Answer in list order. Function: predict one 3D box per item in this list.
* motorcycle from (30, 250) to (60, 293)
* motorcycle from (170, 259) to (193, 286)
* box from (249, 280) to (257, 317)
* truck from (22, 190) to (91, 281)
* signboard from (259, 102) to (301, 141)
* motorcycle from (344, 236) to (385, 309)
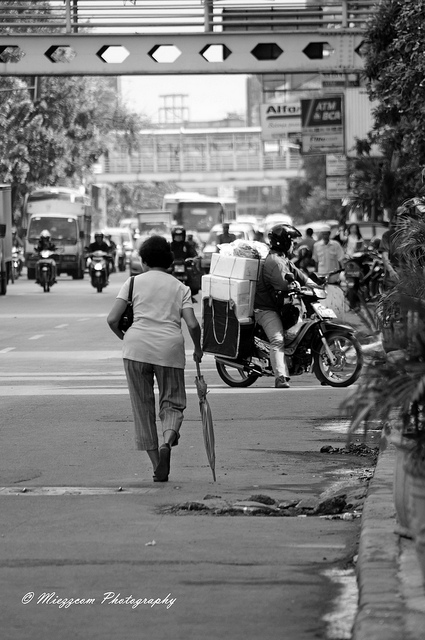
[{"bbox_3d":[-4.791,-1.433,36.400,0.617,1.074,1.740,0,2,-1],"label":"motorcycle"},{"bbox_3d":[-0.666,-1.077,29.073,0.540,0.679,1.055,-1,-6,0],"label":"motorcycle"},{"bbox_3d":[0.389,-0.202,12.599,0.092,0.360,0.126,-4,5,-20],"label":"box"},{"bbox_3d":[-5.730,-3.234,46.615,1.777,3.292,5.502,0,2,0],"label":"truck"},{"bbox_3d":[1.927,-5.543,35.574,0.699,0.850,1.908,-4,6,-18],"label":"signboard"},{"bbox_3d":[2.920,-0.842,24.726,0.664,1.387,1.932,1,3,27],"label":"motorcycle"}]
